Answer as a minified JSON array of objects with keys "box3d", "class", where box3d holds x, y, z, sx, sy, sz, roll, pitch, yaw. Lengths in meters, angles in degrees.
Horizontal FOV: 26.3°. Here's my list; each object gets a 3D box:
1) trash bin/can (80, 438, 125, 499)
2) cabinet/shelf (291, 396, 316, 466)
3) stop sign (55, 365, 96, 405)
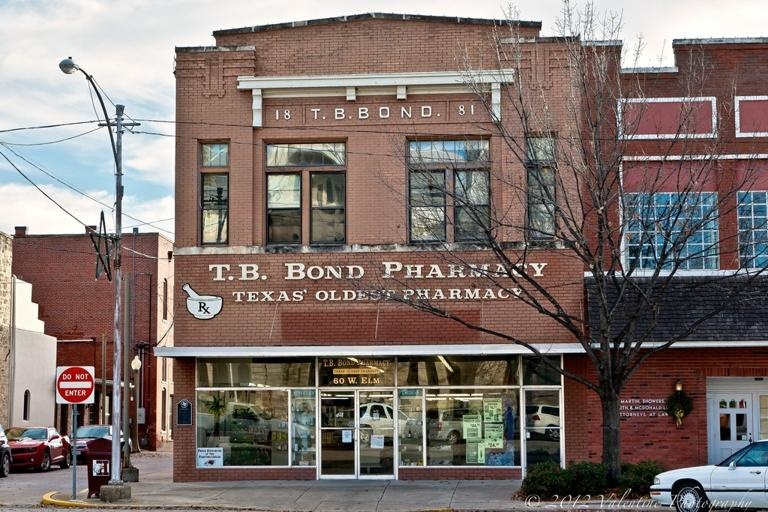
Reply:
[{"box3d":[-9.287,7.035,54.893,1.225,1.851,1.281,2,-9,-16],"class":"trash bin/can"},{"box3d":[-2.648,5.820,57.208,1.051,2.748,0.317,-2,-4,29],"class":"cabinet/shelf"},{"box3d":[-10.067,4.173,53.987,1.158,1.245,0.713,-2,-11,-2],"class":"stop sign"}]
